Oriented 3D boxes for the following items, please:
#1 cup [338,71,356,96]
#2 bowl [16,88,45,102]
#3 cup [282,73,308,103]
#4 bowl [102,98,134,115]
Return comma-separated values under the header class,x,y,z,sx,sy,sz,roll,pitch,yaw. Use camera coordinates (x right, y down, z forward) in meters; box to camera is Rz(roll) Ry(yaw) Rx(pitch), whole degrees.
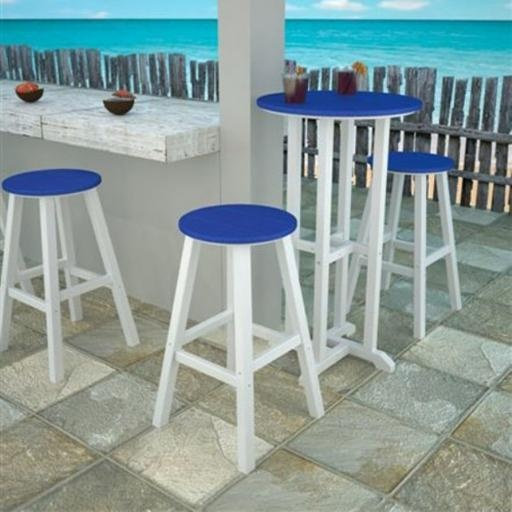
class,x,y,z,sx,sy,sz,roll,pitch,yaw
cup,0.338,-0.669,1.929,0.086,0.091,0.081,1,13,0
bowl,-1.126,-0.798,2.478,0.090,0.038,0.087,1,24,-1
cup,0.133,-0.574,1.700,0.097,0.082,0.100,0,14,0
bowl,-0.596,-0.648,2.168,0.121,0.067,0.072,-6,23,-11
